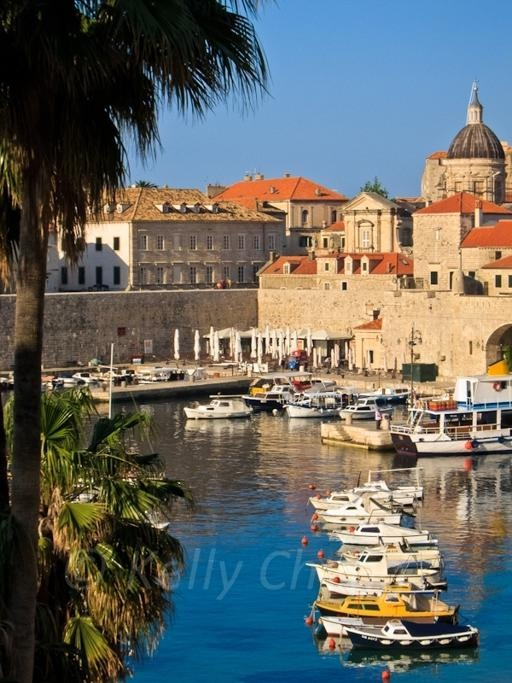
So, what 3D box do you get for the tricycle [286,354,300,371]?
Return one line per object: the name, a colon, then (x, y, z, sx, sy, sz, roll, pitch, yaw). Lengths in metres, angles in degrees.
tricycle: (1.848, 1.051, 68.467, 0.385, 0.808, 0.732, 0, -6, 2)
